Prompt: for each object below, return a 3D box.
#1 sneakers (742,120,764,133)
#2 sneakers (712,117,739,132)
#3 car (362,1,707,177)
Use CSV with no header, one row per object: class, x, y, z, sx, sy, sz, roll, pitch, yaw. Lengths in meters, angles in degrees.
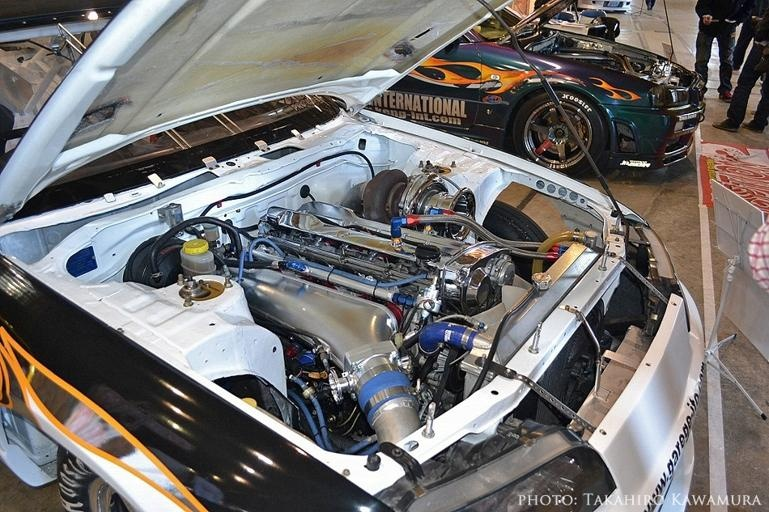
sneakers,4.733,-1.674,6.669,0.108,0.111,0.279,-30,39,-22
sneakers,4.357,-1.722,6.742,0.330,0.202,0.131,19,45,36
car,1.235,-1.654,5.646,3.738,1.038,1.781,10,50,20
